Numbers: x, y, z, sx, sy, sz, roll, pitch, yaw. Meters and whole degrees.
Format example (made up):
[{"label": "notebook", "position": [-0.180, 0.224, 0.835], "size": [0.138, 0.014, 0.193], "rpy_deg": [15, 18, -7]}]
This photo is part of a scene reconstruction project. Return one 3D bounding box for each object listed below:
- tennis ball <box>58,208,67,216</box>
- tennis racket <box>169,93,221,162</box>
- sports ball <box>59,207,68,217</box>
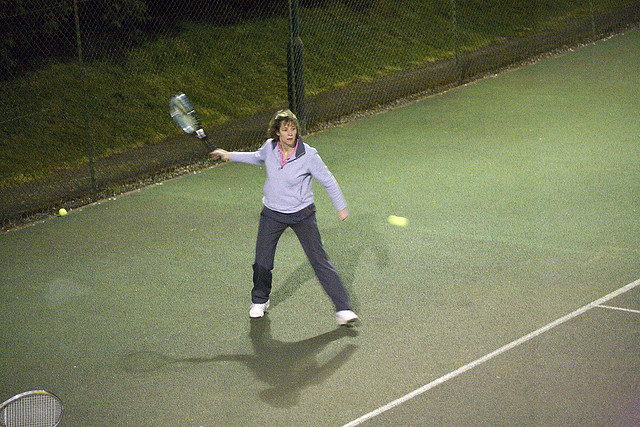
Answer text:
[{"label": "tennis ball", "position": [-4.377, -0.029, 9.804], "size": [0.105, 0.106, 0.126], "rpy_deg": [-10, -11, -8]}, {"label": "tennis racket", "position": [-1.590, -1.188, 7.679], "size": [0.363, 1.361, 0.066], "rpy_deg": [-16, 61, -13]}, {"label": "sports ball", "position": [-4.376, -0.039, 9.864], "size": [0.131, 0.129, 0.153], "rpy_deg": [9, 22, -4]}]
